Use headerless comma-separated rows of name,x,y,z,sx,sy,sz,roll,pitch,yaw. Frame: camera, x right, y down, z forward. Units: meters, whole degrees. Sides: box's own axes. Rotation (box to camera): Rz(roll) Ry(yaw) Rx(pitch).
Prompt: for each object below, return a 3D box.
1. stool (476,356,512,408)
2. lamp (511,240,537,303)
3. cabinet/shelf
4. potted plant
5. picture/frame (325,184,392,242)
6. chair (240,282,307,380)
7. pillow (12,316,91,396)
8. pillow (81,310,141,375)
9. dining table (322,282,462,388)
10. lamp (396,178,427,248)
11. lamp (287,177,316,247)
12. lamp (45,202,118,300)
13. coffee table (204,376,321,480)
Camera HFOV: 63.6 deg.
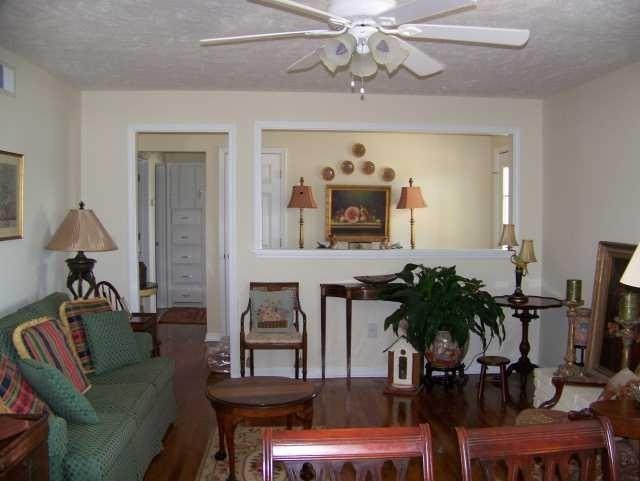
stool,1.636,1.279,4.831,0.374,0.468,0.378,2,6,17
lamp,2.044,0.289,5.159,0.228,0.586,0.715,0,3,23
cabinet/shelf,-2.301,-0.159,8.539,0.845,2.543,0.261,-2,3,-11
potted plant,1.103,0.591,4.603,0.949,0.588,0.956,1,-5,3
picture/frame,0.496,-0.406,7.184,0.795,0.692,0.054,0,3,-1
chair,-0.451,0.907,4.975,0.666,0.968,0.641,-1,3,-2
pillow,-1.756,0.781,3.413,0.139,0.516,0.516,-24,-2,9
pillow,-1.605,0.774,3.947,0.129,0.410,0.428,-19,-5,28
dining table,0.545,0.815,5.341,0.873,0.963,0.729,0,1,24
lamp,1.279,-0.382,7.179,0.403,0.978,0.368,-1,3,10
lamp,-0.235,-0.385,7.030,0.399,0.969,0.308,-1,3,-1
lamp,-2.171,0.098,4.578,0.502,0.856,0.775,-4,4,-39
coffee table,-0.432,1.247,3.725,0.650,0.458,0.653,0,-1,-4
